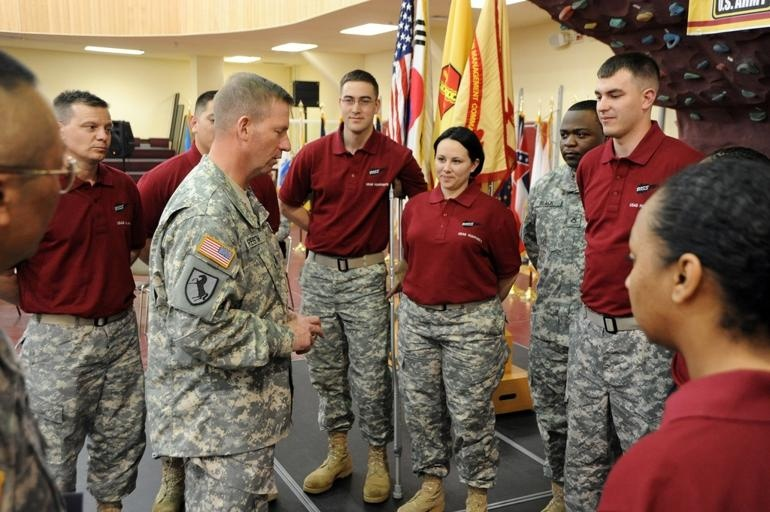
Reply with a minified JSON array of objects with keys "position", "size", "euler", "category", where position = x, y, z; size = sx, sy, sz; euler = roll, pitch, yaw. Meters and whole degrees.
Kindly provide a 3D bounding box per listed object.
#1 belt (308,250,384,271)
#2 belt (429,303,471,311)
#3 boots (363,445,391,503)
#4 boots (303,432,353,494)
[{"position":[-0.245,0.027,3.597],"size":[0.478,0.099,0.218],"euler":[-1,10,-5],"category":"belt"},{"position":[0.321,0.262,3.013],"size":[0.211,0.043,0.025],"euler":[1,10,10],"category":"belt"},{"position":[-0.047,1.243,3.440],"size":[0.170,0.240,0.299],"euler":[-1,10,0],"category":"boots"},{"position":[-0.345,1.208,3.527],"size":[0.149,0.291,0.374],"euler":[0,5,40],"category":"boots"}]
